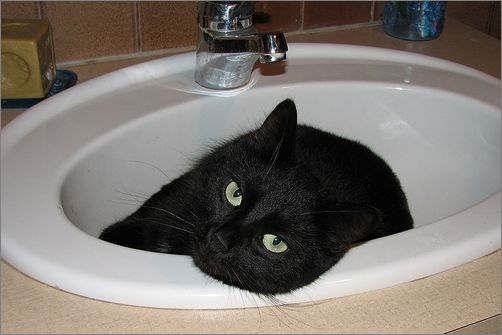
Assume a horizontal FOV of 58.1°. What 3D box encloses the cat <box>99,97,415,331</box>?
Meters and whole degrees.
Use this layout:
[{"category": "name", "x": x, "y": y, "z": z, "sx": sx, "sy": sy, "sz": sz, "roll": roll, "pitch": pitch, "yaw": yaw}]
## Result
[{"category": "cat", "x": 0.139, "y": 0.071, "z": 1.114, "sx": 0.490, "sy": 0.326, "sz": 0.366, "roll": -18, "pitch": 26, "yaw": 41}]
